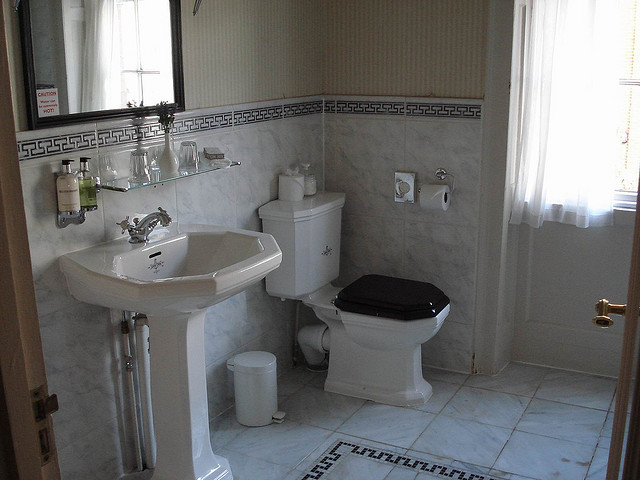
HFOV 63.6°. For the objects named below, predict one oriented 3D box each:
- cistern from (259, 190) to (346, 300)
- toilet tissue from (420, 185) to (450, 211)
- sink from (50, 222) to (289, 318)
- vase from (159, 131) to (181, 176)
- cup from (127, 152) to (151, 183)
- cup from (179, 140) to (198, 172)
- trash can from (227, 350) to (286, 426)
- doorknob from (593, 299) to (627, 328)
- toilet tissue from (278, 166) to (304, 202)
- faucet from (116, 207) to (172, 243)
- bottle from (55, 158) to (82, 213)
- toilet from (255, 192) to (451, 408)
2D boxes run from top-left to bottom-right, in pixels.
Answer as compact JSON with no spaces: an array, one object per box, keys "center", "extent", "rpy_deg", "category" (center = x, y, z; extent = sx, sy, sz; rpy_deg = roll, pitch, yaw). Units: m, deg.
[{"center":[-0.090,0.034,3.162],"extent":[0.343,0.535,0.595],"rpy_deg":[5,14,25],"category":"cistern"},{"center":[0.680,-0.268,3.081],"extent":[0.179,0.172,0.137],"rpy_deg":[3,11,25],"category":"toilet tissue"},{"center":[-0.587,0.152,2.166],"extent":[0.756,0.245,0.839],"rpy_deg":[6,16,4],"category":"sink"},{"center":[-0.666,-0.387,2.267],"extent":[0.085,0.175,0.203],"rpy_deg":[-5,17,-7],"category":"vase"},{"center":[-0.740,-0.312,2.145],"extent":[0.118,0.134,0.121],"rpy_deg":[4,10,-1],"category":"cup"},{"center":[-0.597,-0.378,2.310],"extent":[0.083,0.116,0.142],"rpy_deg":[-7,17,-13],"category":"cup"},{"center":[-0.317,0.767,2.812],"extent":[0.378,0.374,0.264],"rpy_deg":[2,10,15],"category":"trash can"},{"center":[0.681,0.162,1.193],"extent":[0.098,0.046,0.040],"rpy_deg":[5,-1,-1],"category":"doorknob"},{"center":[-0.173,-0.341,3.080],"extent":[0.161,0.177,0.162],"rpy_deg":[-5,20,-20],"category":"toilet tissue"},{"center":[-0.725,-0.061,2.153],"extent":[0.233,0.147,0.121],"rpy_deg":[-7,-7,15],"category":"faucet"},{"center":[-0.958,-0.205,1.937],"extent":[0.081,0.191,0.054],"rpy_deg":[-11,18,-27],"category":"bottle"},{"center":[0.240,0.336,3.063],"extent":[0.999,1.079,0.612],"rpy_deg":[7,15,26],"category":"toilet"}]
